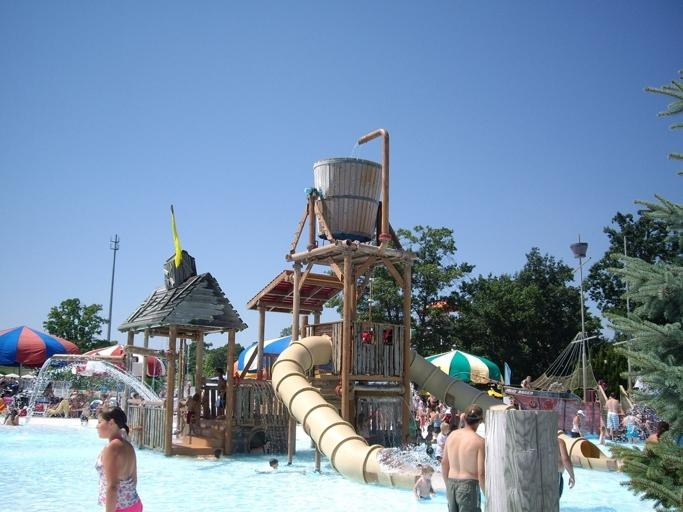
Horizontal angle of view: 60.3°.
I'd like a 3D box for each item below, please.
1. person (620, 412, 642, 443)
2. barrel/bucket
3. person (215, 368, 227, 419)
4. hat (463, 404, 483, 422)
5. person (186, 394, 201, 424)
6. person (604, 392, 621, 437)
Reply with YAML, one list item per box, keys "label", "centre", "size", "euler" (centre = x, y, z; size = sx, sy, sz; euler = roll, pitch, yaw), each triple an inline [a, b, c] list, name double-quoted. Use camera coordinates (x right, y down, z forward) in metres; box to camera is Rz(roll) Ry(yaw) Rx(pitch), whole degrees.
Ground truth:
- label: "person"
  centre: [10.609, 6.223, 21.421]
  size: [0.551, 1.066, 1.167]
  euler: [-4, -18, 17]
- label: "barrel/bucket"
  centre: [0.163, -1.659, 17.180]
  size: [2.077, 2.283, 2.418]
  euler: [1, -9, -7]
- label: "person"
  centre: [-3.770, 4.291, 18.472]
  size: [0.278, 1.404, 0.929]
  euler: [3, -16, -9]
- label: "hat"
  centre: [1.668, 1.970, 7.425]
  size: [0.163, 0.230, 0.214]
  euler: [-2, -11, 7]
- label: "person"
  centre: [-4.636, 4.789, 18.509]
  size: [0.353, 0.948, 0.861]
  euler: [1, -17, -2]
- label: "person"
  centre: [10.266, 6.054, 22.180]
  size: [0.525, 1.527, 1.271]
  euler: [-6, -18, 23]
